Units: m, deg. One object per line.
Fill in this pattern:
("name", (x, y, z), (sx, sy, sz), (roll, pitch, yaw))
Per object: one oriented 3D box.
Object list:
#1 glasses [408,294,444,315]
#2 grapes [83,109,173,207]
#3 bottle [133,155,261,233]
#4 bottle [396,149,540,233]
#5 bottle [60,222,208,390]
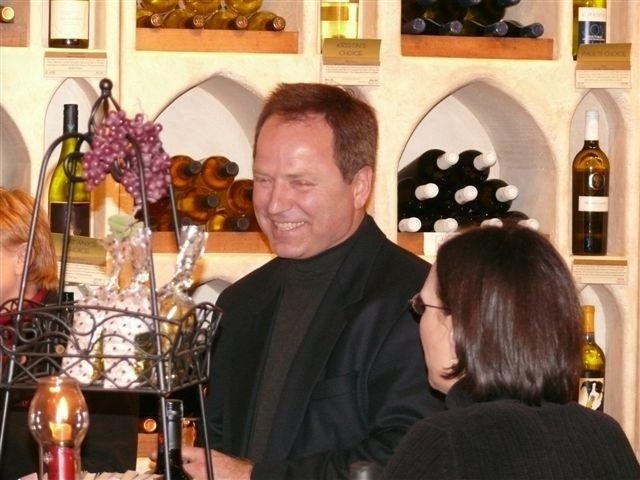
("glasses", (0.203, 0.124, 1.362), (0.054, 0.019, 0.051), (12, -2, -8))
("grapes", (-0.313, -0.130, 1.207), (0.149, 0.150, 0.115), (20, 34, 5))
("bottle", (-0.348, -0.132, 2.184), (0.293, 0.276, 0.497), (5, 9, -11))
("bottle", (0.431, -0.158, 2.303), (0.328, 0.318, 0.538), (1, 10, -6))
("bottle", (-0.295, 0.096, 1.122), (0.224, 0.268, 0.189), (1, -4, 0))
